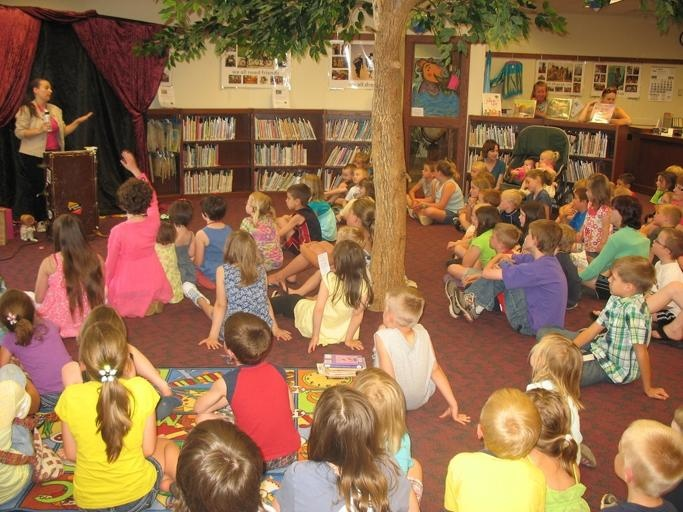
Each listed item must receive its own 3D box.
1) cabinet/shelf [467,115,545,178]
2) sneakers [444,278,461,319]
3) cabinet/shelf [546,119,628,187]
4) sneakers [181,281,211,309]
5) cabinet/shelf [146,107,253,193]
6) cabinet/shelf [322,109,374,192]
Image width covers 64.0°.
[{"bbox_3d":[2.788,-1.840,9.082,1.438,1.372,0.428,0,3,4],"label":"cabinet/shelf"},{"bbox_3d":[1.062,0.379,5.235,0.164,0.393,0.132,-19,-25,22],"label":"sneakers"},{"bbox_3d":[3.921,-1.660,8.681,0.439,1.342,1.376,-5,9,-38],"label":"cabinet/shelf"},{"bbox_3d":[-1.417,0.379,5.275,0.258,0.095,0.112,39,-4,-34],"label":"sneakers"},{"bbox_3d":[-2.446,-1.811,9.112,1.838,1.534,0.581,-6,13,-30],"label":"cabinet/shelf"},{"bbox_3d":[0.195,-1.735,9.784,0.968,1.737,0.464,-4,-10,20],"label":"cabinet/shelf"}]
